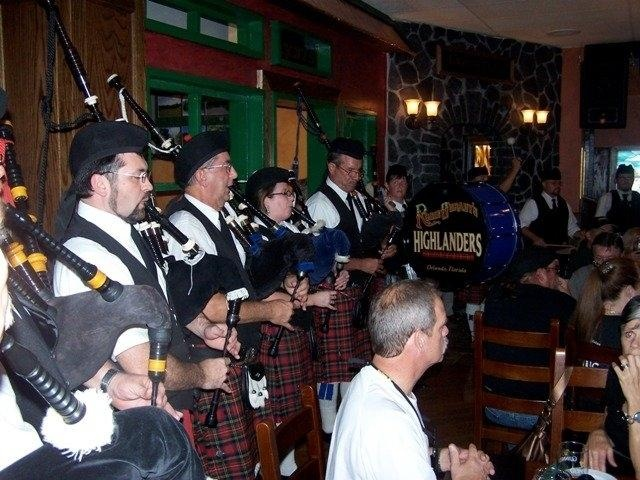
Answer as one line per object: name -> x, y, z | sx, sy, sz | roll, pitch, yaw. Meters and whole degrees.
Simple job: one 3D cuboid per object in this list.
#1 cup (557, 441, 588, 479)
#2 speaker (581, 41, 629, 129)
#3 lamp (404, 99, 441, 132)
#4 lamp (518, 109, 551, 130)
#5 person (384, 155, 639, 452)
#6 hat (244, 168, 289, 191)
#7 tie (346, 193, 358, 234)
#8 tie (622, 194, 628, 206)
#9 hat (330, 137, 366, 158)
cup -> 0.794, 0.688, 1.607 | 0.078, 0.130, 0.078 | 5, -12, 1
speaker -> 4.274, -2.327, 7.713 | 0.637, 1.241, 0.289 | 4, 12, 24
lamp -> 1.320, -1.582, 6.431 | 0.213, 0.362, 0.678 | 9, 15, 43
lamp -> 3.173, -1.705, 7.615 | 0.547, 0.256, 0.227 | -1, 3, -34
person -> 1.143, 0.364, 3.191 | 0.789, 1.234, 1.410 | 9, 17, 23
hat -> -0.275, -0.331, 2.752 | 0.168, 0.075, 0.136 | -14, -6, -26
tie -> 0.216, -0.186, 3.436 | 0.045, 0.324, 0.039 | -12, -12, -6
tie -> 4.203, -0.562, 7.049 | 0.107, 0.109, 0.023 | 4, -8, 0
hat -> 0.172, -0.632, 3.480 | 0.136, 0.102, 0.188 | 6, 10, -9
